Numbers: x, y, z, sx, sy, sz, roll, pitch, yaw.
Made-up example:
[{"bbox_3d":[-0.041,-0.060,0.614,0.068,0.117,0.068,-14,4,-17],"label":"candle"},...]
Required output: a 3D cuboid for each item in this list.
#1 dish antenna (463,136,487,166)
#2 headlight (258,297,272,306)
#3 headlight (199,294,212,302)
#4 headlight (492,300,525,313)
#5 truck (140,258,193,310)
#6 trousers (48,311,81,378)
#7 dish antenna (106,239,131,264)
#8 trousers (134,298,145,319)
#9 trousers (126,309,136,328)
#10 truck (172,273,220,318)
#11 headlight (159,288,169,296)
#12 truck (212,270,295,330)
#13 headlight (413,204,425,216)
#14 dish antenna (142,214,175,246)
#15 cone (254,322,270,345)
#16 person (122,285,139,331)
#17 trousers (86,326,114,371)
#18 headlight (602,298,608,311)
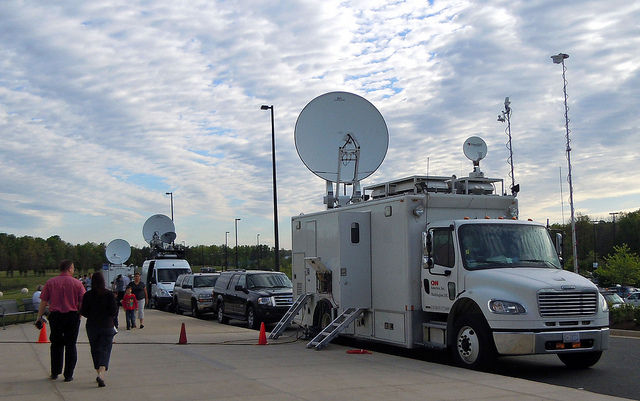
[{"bbox_3d":[4.507,-1.468,17.257,0.607,0.884,1.146,-2,-3,13],"label":"dish antenna"},{"bbox_3d":[-2.111,3.820,22.455,0.307,0.197,0.399,3,-8,-26],"label":"headlight"},{"bbox_3d":[-5.347,4.491,27.382,0.658,0.342,0.169,-2,-3,23],"label":"headlight"},{"bbox_3d":[4.395,2.476,13.846,0.708,0.282,0.090,-2,-2,12],"label":"headlight"},{"bbox_3d":[-9.118,4.540,35.611,2.407,2.418,4.956,-1,7,-27],"label":"truck"},{"bbox_3d":[-5.970,3.281,13.643,0.839,1.415,0.732,-2,-1,-21],"label":"trousers"},{"bbox_3d":[-15.522,3.949,45.378,0.625,1.837,1.996,-3,-3,34],"label":"dish antenna"},{"bbox_3d":[-7.239,4.360,23.862,0.265,0.762,0.631,-1,-3,-16],"label":"trousers"},{"bbox_3d":[-7.461,4.610,23.313,0.263,0.744,0.481,-2,-2,4],"label":"trousers"},{"bbox_3d":[-6.010,4.509,28.862,1.821,1.237,2.978,3,-11,-26],"label":"truck"},{"bbox_3d":[-8.774,5.120,33.149,0.301,0.381,0.765,1,-3,-38],"label":"headlight"},{"bbox_3d":[-2.608,3.915,23.891,2.107,1.457,3.464,4,-11,-30],"label":"truck"},{"bbox_3d":[2.618,0.254,15.689,0.256,0.271,0.099,11,2,-30],"label":"headlight"},{"bbox_3d":[-10.081,1.978,36.817,2.342,2.225,0.623,12,-9,-11],"label":"dish antenna"},{"bbox_3d":[-1.825,4.158,18.417,0.568,0.687,0.544,-5,-6,23],"label":"cone"},{"bbox_3d":[-7.539,4.281,23.475,0.610,1.523,1.001,-1,-2,-15],"label":"person"},{"bbox_3d":[-4.939,3.292,13.271,0.577,0.932,0.271,-1,-2,1],"label":"trousers"},{"bbox_3d":[6.914,2.544,14.388,0.097,0.236,0.180,0,0,20],"label":"headlight"}]
